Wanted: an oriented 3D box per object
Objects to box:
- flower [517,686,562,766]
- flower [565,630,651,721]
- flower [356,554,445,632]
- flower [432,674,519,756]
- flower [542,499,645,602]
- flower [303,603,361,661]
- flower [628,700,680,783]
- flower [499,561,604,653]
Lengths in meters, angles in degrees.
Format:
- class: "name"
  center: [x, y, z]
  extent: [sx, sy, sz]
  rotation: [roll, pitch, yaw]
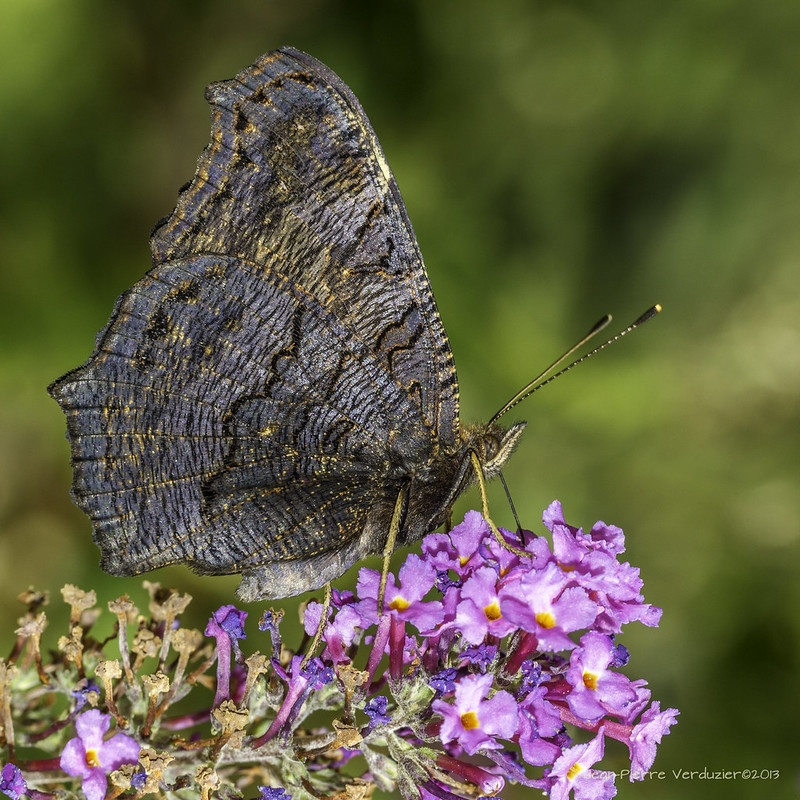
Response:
- class: "flower"
  center: [0.384, 0.877, 2.974]
  extent: [0.107, 0.202, 0.143]
  rotation: [-2, -16, 36]
- class: "flower"
  center: [0.555, 0.748, 2.988]
  extent: [0.234, 0.228, 0.069]
  rotation: [15, -15, -30]
- class: "flower"
  center: [-0.021, 0.577, 3.194]
  extent: [0.268, 0.232, 0.080]
  rotation: [-18, 12, 1]
- class: "flower"
  center: [0.202, 0.826, 2.923]
  extent: [0.232, 0.202, 0.120]
  rotation: [7, -13, 3]
- class: "flower"
  center: [0.558, 0.444, 3.190]
  extent: [0.295, 0.131, 0.277]
  rotation: [22, 14, 15]
- class: "flower"
  center: [-0.197, 0.678, 3.192]
  extent: [0.142, 0.171, 0.074]
  rotation: [-1, -18, 29]
- class: "flower"
  center: [0.677, 0.925, 3.063]
  extent: [0.087, 0.203, 0.168]
  rotation: [12, -29, 36]
- class: "flower"
  center: [0.391, 0.574, 2.998]
  extent: [0.249, 0.272, 0.092]
  rotation: [-33, -78, 25]
